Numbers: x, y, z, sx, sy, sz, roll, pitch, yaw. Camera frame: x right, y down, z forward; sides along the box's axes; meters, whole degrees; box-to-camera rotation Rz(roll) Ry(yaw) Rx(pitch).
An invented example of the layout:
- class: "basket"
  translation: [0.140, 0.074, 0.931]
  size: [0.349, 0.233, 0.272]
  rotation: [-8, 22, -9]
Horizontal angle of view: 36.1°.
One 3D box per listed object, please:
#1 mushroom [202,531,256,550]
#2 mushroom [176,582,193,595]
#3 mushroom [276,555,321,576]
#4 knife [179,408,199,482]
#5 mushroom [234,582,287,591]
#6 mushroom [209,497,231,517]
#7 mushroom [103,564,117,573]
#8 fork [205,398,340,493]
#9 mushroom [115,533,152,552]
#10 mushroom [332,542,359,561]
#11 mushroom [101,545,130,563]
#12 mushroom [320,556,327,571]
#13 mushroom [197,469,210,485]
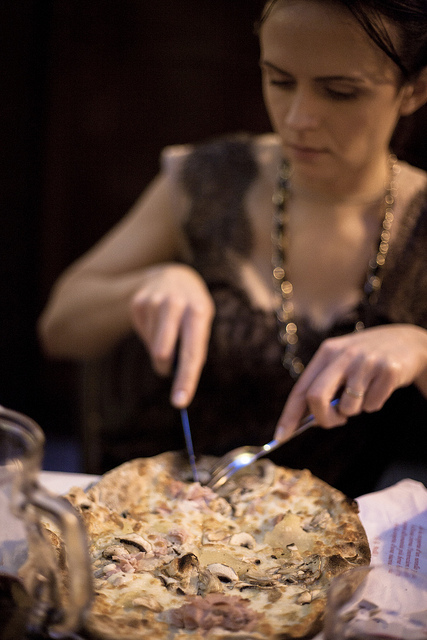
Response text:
- class: "mushroom"
  translation: [0.022, 0.297, 0.882]
  size: [0.046, 0.009, 0.027]
  rotation: [1, 5, -9]
- class: "mushroom"
  translation: [-0.036, 0.309, 0.742]
  size: [0.011, 0.003, 0.024]
  rotation: [-7, 13, -44]
- class: "mushroom"
  translation: [0.108, 0.311, 0.823]
  size: [0.050, 0.016, 0.019]
  rotation: [-11, 33, 0]
- class: "knife"
  translation: [-0.043, 0.168, 1.032]
  size: [0.021, 0.019, 0.135]
  rotation: [10, 15, -11]
- class: "mushroom"
  translation: [0.056, 0.315, 0.771]
  size: [0.064, 0.007, 0.016]
  rotation: [0, 10, -11]
- class: "mushroom"
  translation: [0.012, 0.277, 0.966]
  size: [0.020, 0.008, 0.025]
  rotation: [-12, 30, -27]
- class: "mushroom"
  translation: [-0.123, 0.297, 0.779]
  size: [0.016, 0.004, 0.019]
  rotation: [1, 9, -3]
- class: "fork"
  translation: [0.120, 0.238, 1.215]
  size: [0.305, 0.036, 0.033]
  rotation: [-35, 43, 8]
- class: "mushroom"
  translation: [-0.099, 0.287, 0.840]
  size: [0.033, 0.010, 0.019]
  rotation: [26, 15, 30]
- class: "mushroom"
  translation: [0.171, 0.296, 0.836]
  size: [0.016, 0.004, 0.015]
  rotation: [2, 19, 18]
- class: "mushroom"
  translation: [-0.119, 0.292, 0.816]
  size: [0.031, 0.010, 0.036]
  rotation: [-8, 13, -44]
- class: "mushroom"
  translation: [0.138, 0.304, 0.812]
  size: [0.004, 0.014, 0.006]
  rotation: [-2, -14, -1]
- class: "mushroom"
  translation: [-0.016, 0.249, 1.038]
  size: [0.017, 0.017, 0.016]
  rotation: [-32, 57, -24]
